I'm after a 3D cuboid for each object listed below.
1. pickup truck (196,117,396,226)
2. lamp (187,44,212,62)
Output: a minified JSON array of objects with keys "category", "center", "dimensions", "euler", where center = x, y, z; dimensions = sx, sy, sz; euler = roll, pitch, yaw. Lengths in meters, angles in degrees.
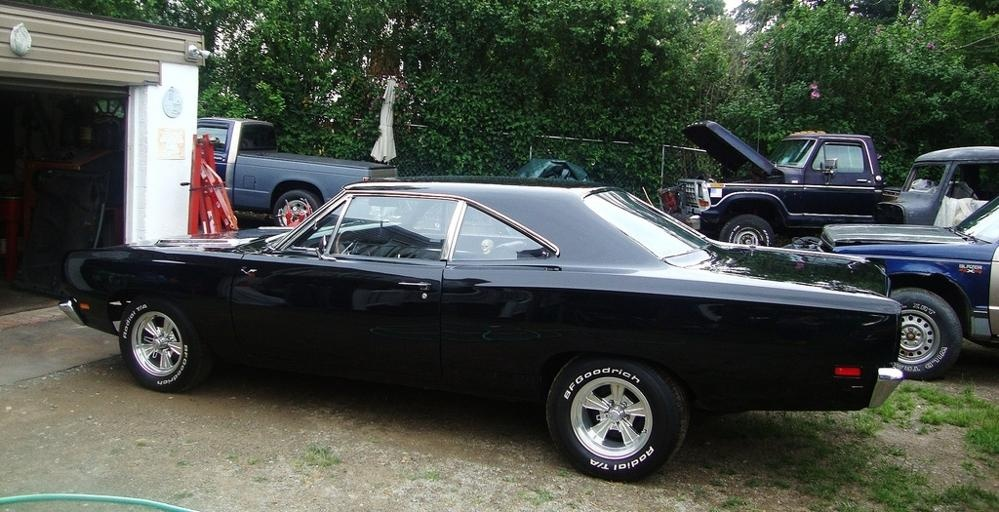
[{"category":"pickup truck","center":[-3.853,-1.984,15.625],"dimensions":[5.917,2.179,2.549],"euler":[11,10,16]},{"category":"lamp","center":[-5.751,-3.833,12.003],"dimensions":[0.362,0.282,0.225],"euler":[0,12,-11]}]
